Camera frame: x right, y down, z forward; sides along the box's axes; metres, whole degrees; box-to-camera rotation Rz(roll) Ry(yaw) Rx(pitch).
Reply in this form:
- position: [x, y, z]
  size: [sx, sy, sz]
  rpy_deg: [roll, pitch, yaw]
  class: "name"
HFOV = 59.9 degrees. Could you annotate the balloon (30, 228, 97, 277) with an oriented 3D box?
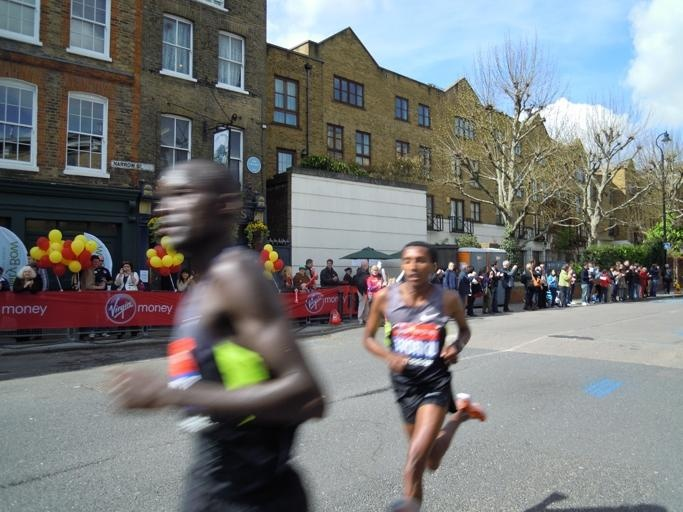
- position: [-6.253, -0.070, 13.561]
  size: [0.907, 0.750, 1.318]
  rpy_deg: [24, 5, 23]
  class: "balloon"
